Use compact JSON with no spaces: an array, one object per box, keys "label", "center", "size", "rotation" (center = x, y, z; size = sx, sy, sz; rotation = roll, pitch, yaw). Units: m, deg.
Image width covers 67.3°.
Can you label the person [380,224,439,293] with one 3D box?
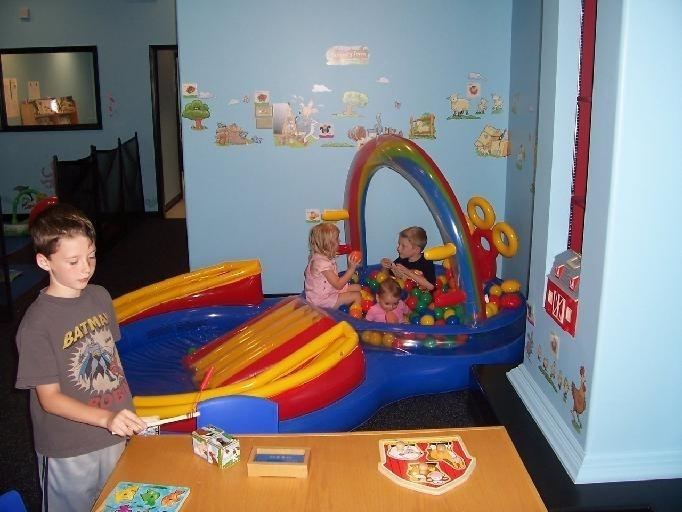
[{"label":"person","center":[0.619,-0.027,4.663],"size":[0.460,0.780,0.556],"rotation":[-2,14,-18]}]

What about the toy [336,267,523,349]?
[{"label":"toy","center":[0.706,0.400,4.156],"size":[1.509,0.424,1.066],"rotation":[-3,8,-3]}]

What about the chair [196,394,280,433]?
[{"label":"chair","center":[-0.482,0.765,2.472],"size":[0.283,0.125,0.218],"rotation":[8,4,-3]}]

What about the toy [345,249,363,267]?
[{"label":"toy","center":[0.114,0.010,4.311],"size":[0.094,0.135,0.131],"rotation":[8,-29,0]}]

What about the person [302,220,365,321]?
[{"label":"person","center":[-0.047,0.115,4.269],"size":[0.443,0.853,0.419],"rotation":[2,15,4]}]
